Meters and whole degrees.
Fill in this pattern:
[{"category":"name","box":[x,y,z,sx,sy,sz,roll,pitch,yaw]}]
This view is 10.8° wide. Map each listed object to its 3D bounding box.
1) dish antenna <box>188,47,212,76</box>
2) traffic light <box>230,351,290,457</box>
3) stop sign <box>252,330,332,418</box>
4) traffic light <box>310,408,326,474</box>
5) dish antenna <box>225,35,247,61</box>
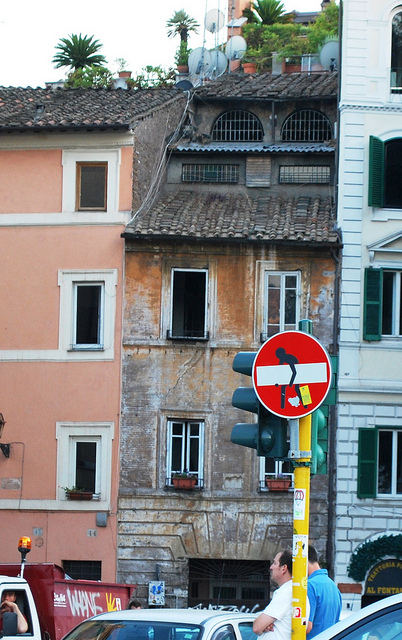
[{"category":"dish antenna","box":[-0.048,-6.078,50.885,0.543,0.670,0.677,-2,-7,14]},{"category":"traffic light","box":[0.804,1.162,29.210,0.930,1.492,0.434,-6,-8,44]},{"category":"stop sign","box":[1.233,0.785,28.862,0.991,1.445,0.173,-3,-9,19]},{"category":"traffic light","box":[1.587,1.655,28.916,0.125,0.878,0.458,-2,-6,20]},{"category":"dish antenna","box":[0.949,-6.666,52.593,0.539,0.666,0.142,0,-6,41]}]
